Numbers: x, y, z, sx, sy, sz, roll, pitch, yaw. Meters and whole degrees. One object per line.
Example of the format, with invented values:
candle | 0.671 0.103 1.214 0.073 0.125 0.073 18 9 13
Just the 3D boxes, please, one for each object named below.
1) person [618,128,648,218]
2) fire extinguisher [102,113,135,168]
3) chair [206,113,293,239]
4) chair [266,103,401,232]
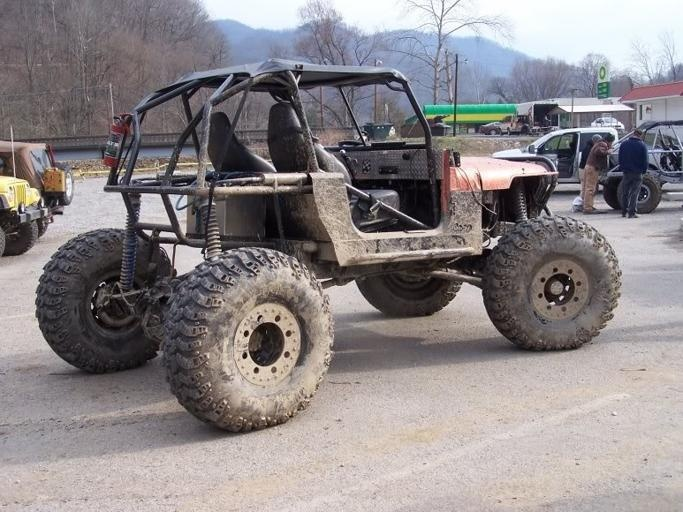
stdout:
person | 7.064 -2.103 15.924 0.744 2.160 0.668 8 15 24
fire extinguisher | -1.858 -0.961 5.401 0.246 0.443 0.578 -5 10 -20
chair | -0.600 -0.760 5.672 0.956 1.291 0.658 -5 4 -38
chair | -0.388 -0.978 5.593 0.507 0.697 0.564 -11 13 -9
